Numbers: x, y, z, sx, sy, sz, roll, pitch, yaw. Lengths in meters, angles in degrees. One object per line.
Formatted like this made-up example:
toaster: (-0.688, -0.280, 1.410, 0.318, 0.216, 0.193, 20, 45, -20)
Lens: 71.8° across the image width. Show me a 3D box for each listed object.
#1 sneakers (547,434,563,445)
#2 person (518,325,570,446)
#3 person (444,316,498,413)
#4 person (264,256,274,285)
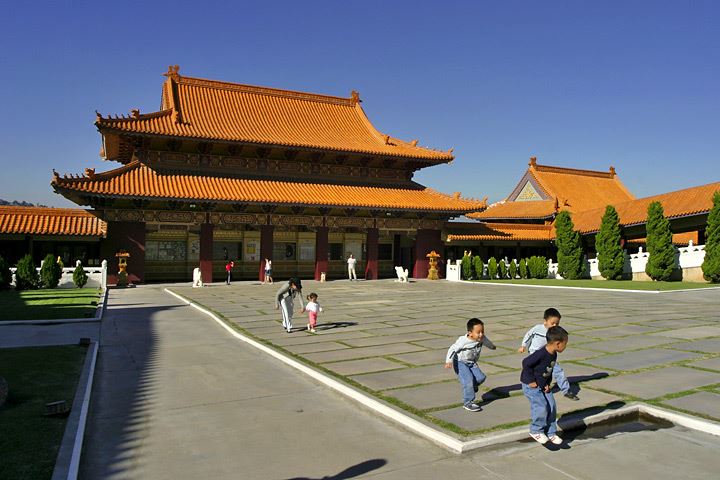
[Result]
sneakers: (2.856, 2.929, 7.337, 0.121, 0.080, 0.216, 1, -12, -13)
person: (2.734, 2.150, 7.393, 0.636, 1.702, 0.324, -2, -6, 15)
person: (1.858, 2.087, 8.540, 0.733, 1.501, 0.861, -2, -6, 15)
person: (-5.448, 1.751, 29.172, 0.398, 1.521, 1.347, 0, -5, -11)
